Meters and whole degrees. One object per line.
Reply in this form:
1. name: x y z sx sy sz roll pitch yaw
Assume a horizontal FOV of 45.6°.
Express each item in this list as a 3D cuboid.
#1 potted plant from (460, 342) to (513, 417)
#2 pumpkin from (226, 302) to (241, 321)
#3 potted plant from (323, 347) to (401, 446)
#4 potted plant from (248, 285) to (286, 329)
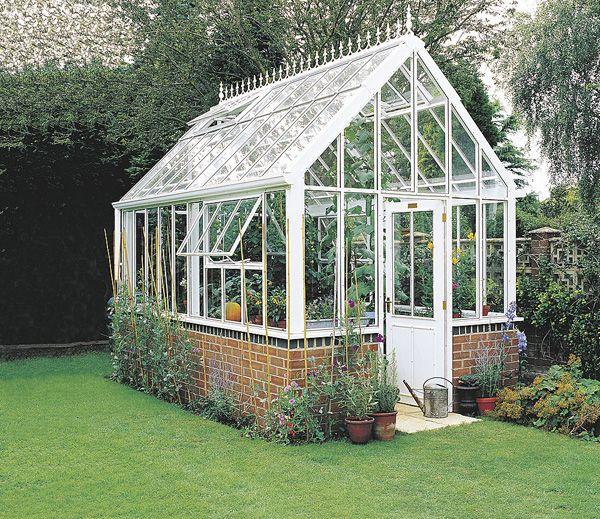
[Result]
1. potted plant: 2.875 1.809 11.114 0.786 1.537 0.974 1 -9 11
2. pumpkin: -0.976 0.772 10.527 0.220 0.311 0.237 4 6 33
3. potted plant: 0.924 1.821 9.902 1.075 1.580 1.037 2 -7 -19
4. potted plant: -0.471 0.644 9.766 0.172 0.546 0.495 -6 7 -44
